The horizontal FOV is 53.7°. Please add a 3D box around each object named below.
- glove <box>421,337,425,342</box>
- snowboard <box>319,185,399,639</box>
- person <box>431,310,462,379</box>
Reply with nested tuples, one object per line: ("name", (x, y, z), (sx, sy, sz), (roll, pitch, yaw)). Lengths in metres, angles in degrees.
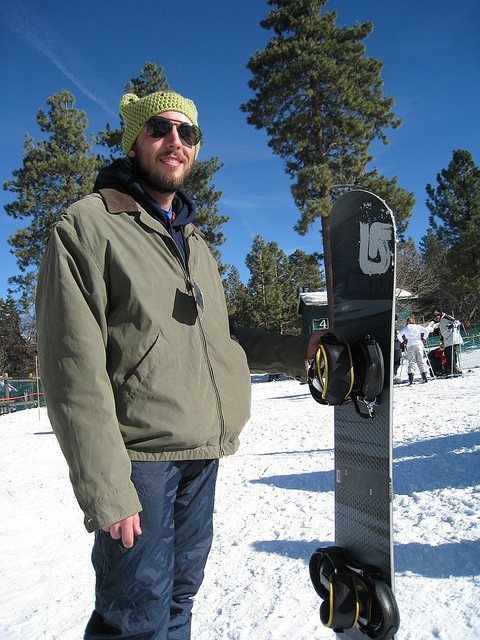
("glove", (4.338, 0.467, 11.232), (0.032, 0.098, 0.098), (-42, 31, -19))
("snowboard", (0.520, 0.298, 1.987), (0.225, 2.080, 0.290), (4, -5, -41))
("person", (5.201, 0.613, 11.793), (0.580, 1.688, 0.897), (-4, -1, 22))
